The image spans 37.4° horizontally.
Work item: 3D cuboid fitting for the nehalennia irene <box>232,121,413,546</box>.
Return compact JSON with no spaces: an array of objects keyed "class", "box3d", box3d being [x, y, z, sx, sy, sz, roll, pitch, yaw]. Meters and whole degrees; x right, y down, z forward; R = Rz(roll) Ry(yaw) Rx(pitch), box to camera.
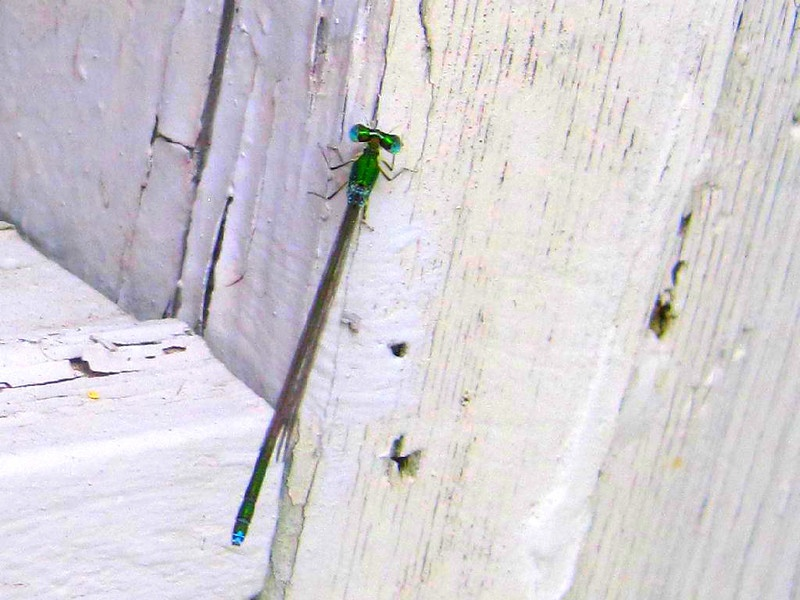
[{"class":"nehalennia irene","box3d":[-0.163,-0.009,2.543,0.293,1.037,0.245,18,17,4]}]
